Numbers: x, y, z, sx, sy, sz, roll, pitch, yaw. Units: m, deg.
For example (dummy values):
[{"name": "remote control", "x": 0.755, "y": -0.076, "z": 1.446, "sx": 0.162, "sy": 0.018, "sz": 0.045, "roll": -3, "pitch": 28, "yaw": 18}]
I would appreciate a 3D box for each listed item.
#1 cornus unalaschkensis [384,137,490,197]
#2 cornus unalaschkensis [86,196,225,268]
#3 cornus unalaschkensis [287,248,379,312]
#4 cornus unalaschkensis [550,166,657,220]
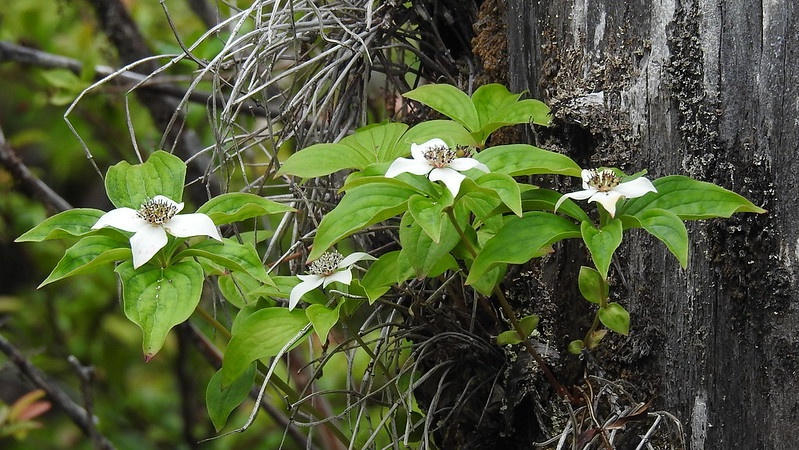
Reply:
[{"name": "cornus unalaschkensis", "x": 0.127, "y": -0.188, "z": 2.410, "sx": 0.319, "sy": 0.180, "sz": 0.187, "roll": 3, "pitch": 8, "yaw": -39}, {"name": "cornus unalaschkensis", "x": -0.786, "y": 0.001, "z": 2.492, "sx": 0.233, "sy": 0.153, "sz": 0.320, "roll": 0, "pitch": 13, "yaw": 12}, {"name": "cornus unalaschkensis", "x": -0.239, "y": 0.191, "z": 2.562, "sx": 0.255, "sy": 0.207, "sz": 0.136, "roll": 7, "pitch": 6, "yaw": -8}, {"name": "cornus unalaschkensis", "x": 0.674, "y": -0.102, "z": 2.435, "sx": 0.226, "sy": 0.147, "sz": 0.319, "roll": -3, "pitch": -17, "yaw": -6}]
